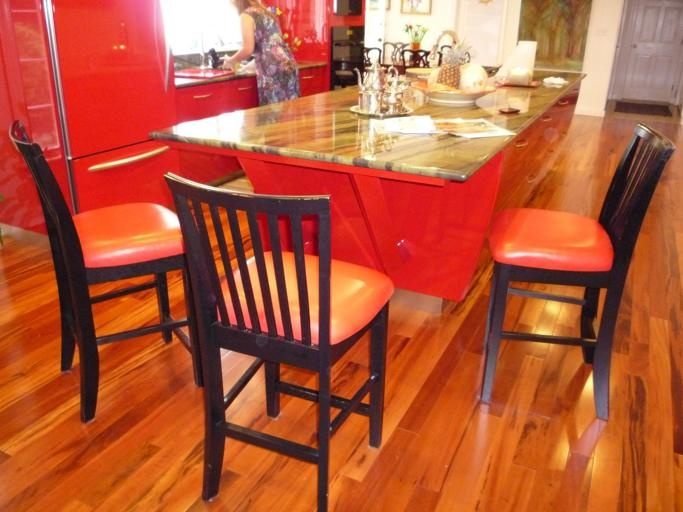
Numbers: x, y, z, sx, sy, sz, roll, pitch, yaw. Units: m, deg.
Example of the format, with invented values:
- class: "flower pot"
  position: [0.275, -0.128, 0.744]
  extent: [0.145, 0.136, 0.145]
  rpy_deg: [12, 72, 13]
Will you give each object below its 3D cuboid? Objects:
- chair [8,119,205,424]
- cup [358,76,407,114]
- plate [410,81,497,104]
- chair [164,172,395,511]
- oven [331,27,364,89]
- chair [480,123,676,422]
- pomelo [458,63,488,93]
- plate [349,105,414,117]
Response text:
- class: "chair"
  position: [-1.141, 0.099, 2.552]
  extent: [0.802, 1.497, 0.656]
  rpy_deg: [-15, 44, -31]
- class: "cup"
  position: [0.231, -0.828, 2.782]
  extent: [0.236, 0.174, 0.176]
  rpy_deg: [-10, 27, -21]
- class: "plate"
  position: [0.638, -0.948, 3.118]
  extent: [0.459, 0.123, 0.429]
  rpy_deg: [4, 26, 11]
- class: "chair"
  position: [-0.192, 0.275, 1.916]
  extent: [0.680, 1.172, 0.573]
  rpy_deg: [5, 26, 14]
- class: "oven"
  position: [0.034, -2.181, 6.143]
  extent: [0.292, 0.748, 0.409]
  rpy_deg: [-9, 25, -3]
- class: "chair"
  position: [0.972, 0.043, 2.358]
  extent: [0.636, 1.138, 0.674]
  rpy_deg: [6, 26, 15]
- class: "pomelo"
  position: [0.746, -1.000, 3.091]
  extent: [0.154, 0.168, 0.156]
  rpy_deg: [-13, 19, 18]
- class: "plate"
  position: [0.201, -0.742, 2.771]
  extent: [0.336, 0.031, 0.251]
  rpy_deg: [2, 26, 7]
